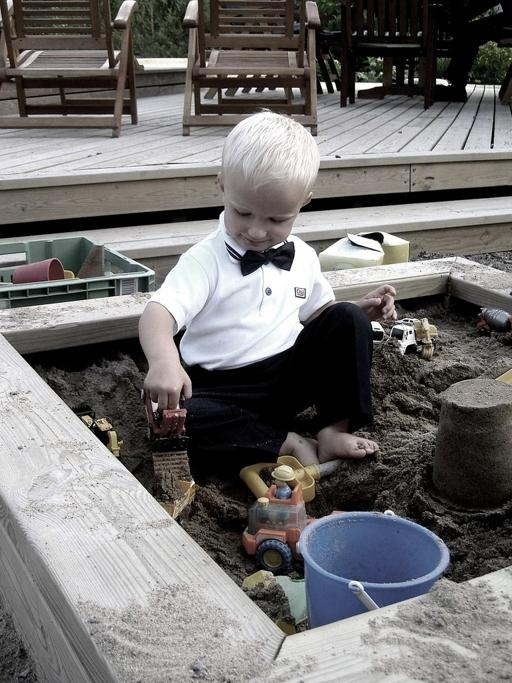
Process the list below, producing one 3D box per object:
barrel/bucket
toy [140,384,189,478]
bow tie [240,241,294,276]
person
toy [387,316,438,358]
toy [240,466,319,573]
[{"bbox_3d":[0.150,0.326,0.862,0.188,0.155,0.192,-4,16,1],"label":"barrel/bucket"},{"bbox_3d":[-0.170,0.186,1.174,0.085,0.159,0.144,0,11,-11],"label":"toy"},{"bbox_3d":[0.030,-0.210,1.473,0.135,0.083,0.116,13,19,42],"label":"bow tie"},{"bbox_3d":[-0.028,-0.104,1.414,0.500,0.768,0.822,14,21,39],"label":"person"},{"bbox_3d":[0.480,-0.028,1.894,0.140,0.124,0.126,-7,17,-16],"label":"toy"},{"bbox_3d":[0.051,0.336,1.192,0.141,0.188,0.158,1,9,18],"label":"toy"}]
